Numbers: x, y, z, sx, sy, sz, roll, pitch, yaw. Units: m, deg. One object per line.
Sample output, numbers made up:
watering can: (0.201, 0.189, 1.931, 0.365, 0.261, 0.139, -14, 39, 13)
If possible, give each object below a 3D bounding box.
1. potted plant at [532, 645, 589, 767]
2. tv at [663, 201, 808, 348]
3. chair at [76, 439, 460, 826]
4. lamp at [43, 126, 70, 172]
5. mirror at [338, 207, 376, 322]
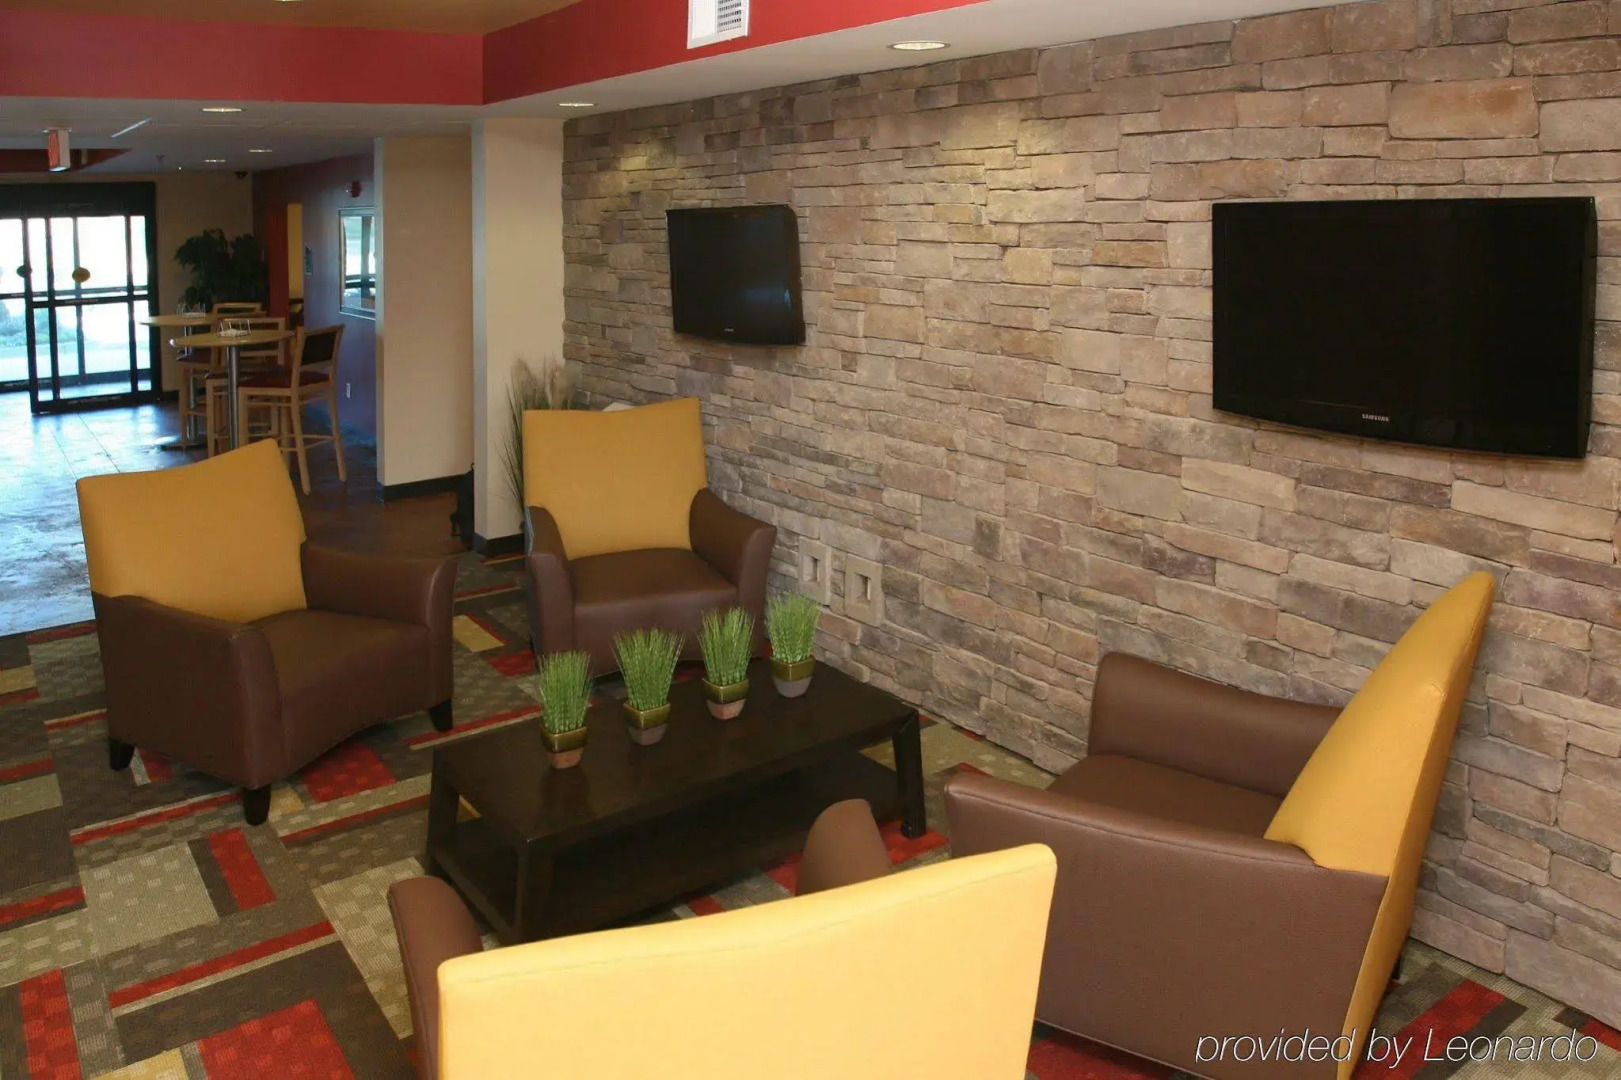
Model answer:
potted plant: (-0.888, 0.584, 3.929, 0.169, 0.381, 0.309, -4, 17, -13)
tv: (-0.392, -1.415, 5.811, 0.160, 0.689, 1.076, -13, 20, -37)
chair: (-2.356, 0.318, 4.802, 1.212, 1.199, 1.153, 15, 20, 34)
lamp: (-5.448, -2.814, 7.890, 0.137, 0.202, 2.194, -11, 19, -32)
mirror: (-4.439, -2.702, 10.640, 0.217, 1.027, 1.066, -10, 19, -30)
